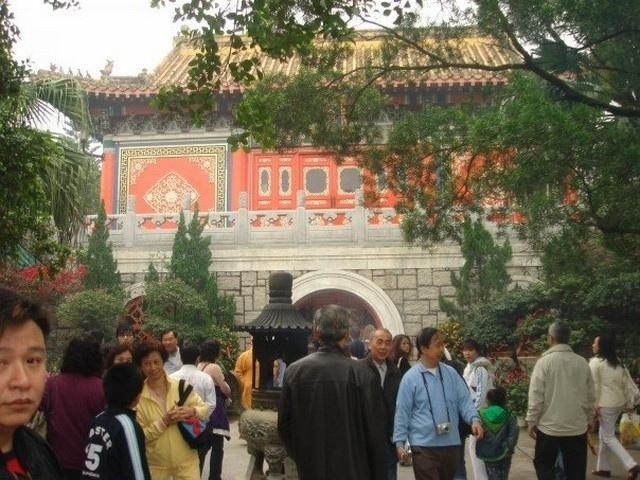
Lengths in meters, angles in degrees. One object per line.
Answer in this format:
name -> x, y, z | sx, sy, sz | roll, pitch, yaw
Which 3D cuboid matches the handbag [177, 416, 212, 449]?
handbag -> -1.181, 1.840, 7.610 | 0.235, 0.315, 0.110 | -35, 5, -32
